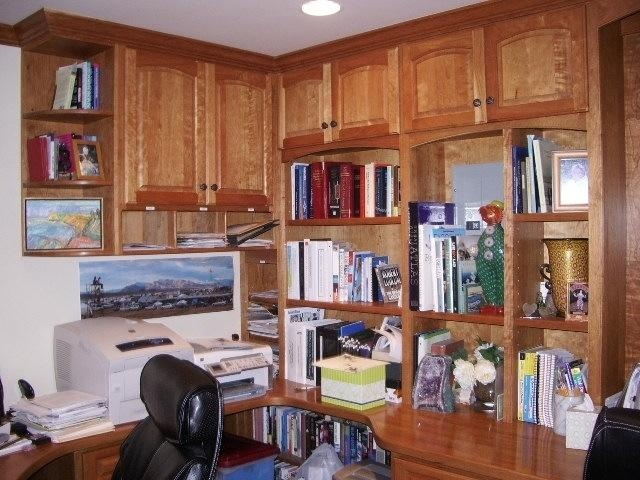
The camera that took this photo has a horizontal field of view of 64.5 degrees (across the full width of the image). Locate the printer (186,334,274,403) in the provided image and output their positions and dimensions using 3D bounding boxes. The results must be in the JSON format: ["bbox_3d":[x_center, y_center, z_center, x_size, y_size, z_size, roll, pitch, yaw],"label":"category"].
[{"bbox_3d":[-0.524,0.746,3.069,0.368,0.250,0.390,2,-3,-41],"label":"printer"}]

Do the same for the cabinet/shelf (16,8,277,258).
[{"bbox_3d":[-1.053,-0.646,2.936,1.341,1.091,0.464,0,-2,-43],"label":"cabinet/shelf"}]

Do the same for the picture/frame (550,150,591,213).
[{"bbox_3d":[1.190,-0.280,2.424,0.152,0.293,0.092,2,6,19],"label":"picture/frame"}]

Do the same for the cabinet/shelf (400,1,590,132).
[{"bbox_3d":[0.903,-0.874,2.532,0.712,0.353,0.094,0,1,36],"label":"cabinet/shelf"}]

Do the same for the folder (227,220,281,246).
[{"bbox_3d":[-0.470,-0.051,3.300,0.192,0.053,0.206,-23,8,-28],"label":"folder"}]

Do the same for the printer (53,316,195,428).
[{"bbox_3d":[-1.104,0.671,2.845,0.662,0.446,0.480,2,2,44],"label":"printer"}]
